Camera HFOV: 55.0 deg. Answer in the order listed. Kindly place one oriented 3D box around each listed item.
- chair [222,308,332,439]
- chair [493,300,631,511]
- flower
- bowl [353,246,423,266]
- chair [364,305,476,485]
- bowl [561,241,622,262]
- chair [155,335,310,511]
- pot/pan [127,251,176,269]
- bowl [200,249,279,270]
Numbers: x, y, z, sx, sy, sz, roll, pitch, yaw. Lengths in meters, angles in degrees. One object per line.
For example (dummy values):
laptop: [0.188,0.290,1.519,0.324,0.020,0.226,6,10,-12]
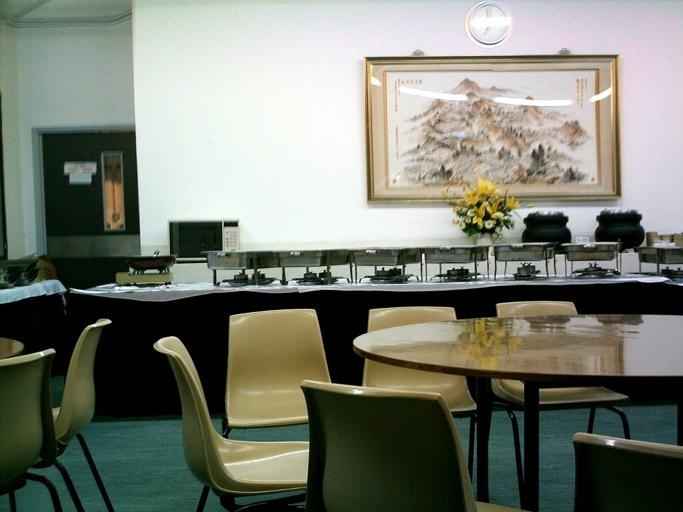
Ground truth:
chair: [-0.301,0.592,3.180,0.585,0.731,0.509,-2,-10,-15]
chair: [1.112,0.718,3.316,0.685,0.973,0.711,-7,-5,33]
flower: [1.254,-0.395,5.492,0.554,0.610,0.544,-3,3,-11]
bowl: [0.312,0.005,4.442,0.463,0.135,0.104,-2,6,0]
chair: [0.416,0.694,3.654,0.681,1.262,0.804,1,-6,-3]
bowl: [1.743,-0.023,4.569,0.416,0.160,0.280,-3,6,-9]
chair: [-0.477,0.672,3.061,0.778,0.879,0.595,-3,0,-11]
pot/pan: [-1.321,0.044,4.546,0.202,0.106,0.147,-2,-4,-6]
bowl: [-0.664,0.028,4.455,0.491,0.125,0.130,-2,6,3]
